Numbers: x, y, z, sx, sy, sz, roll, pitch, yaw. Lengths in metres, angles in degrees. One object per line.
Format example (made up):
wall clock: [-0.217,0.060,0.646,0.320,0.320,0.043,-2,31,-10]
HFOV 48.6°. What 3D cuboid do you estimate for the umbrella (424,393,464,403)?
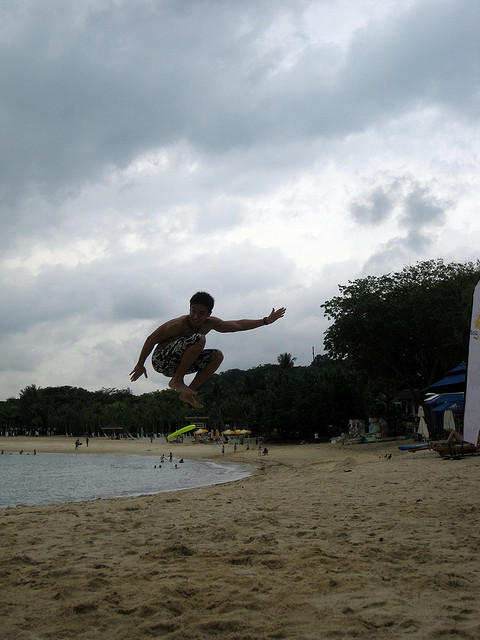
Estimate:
umbrella: [8.128,3.040,20.768,0.557,0.305,1.725,0,-8,-5]

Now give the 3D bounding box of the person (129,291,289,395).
person: [-0.467,0.328,6.633,2.189,1.244,0.780,-4,-6,6]

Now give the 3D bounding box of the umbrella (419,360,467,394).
umbrella: [8.386,2.372,21.364,1.119,1.224,5.451,-3,-8,21]

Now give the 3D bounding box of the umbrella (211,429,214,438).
umbrella: [-3.835,16.137,74.537,0.289,0.760,1.450,1,-8,-9]
